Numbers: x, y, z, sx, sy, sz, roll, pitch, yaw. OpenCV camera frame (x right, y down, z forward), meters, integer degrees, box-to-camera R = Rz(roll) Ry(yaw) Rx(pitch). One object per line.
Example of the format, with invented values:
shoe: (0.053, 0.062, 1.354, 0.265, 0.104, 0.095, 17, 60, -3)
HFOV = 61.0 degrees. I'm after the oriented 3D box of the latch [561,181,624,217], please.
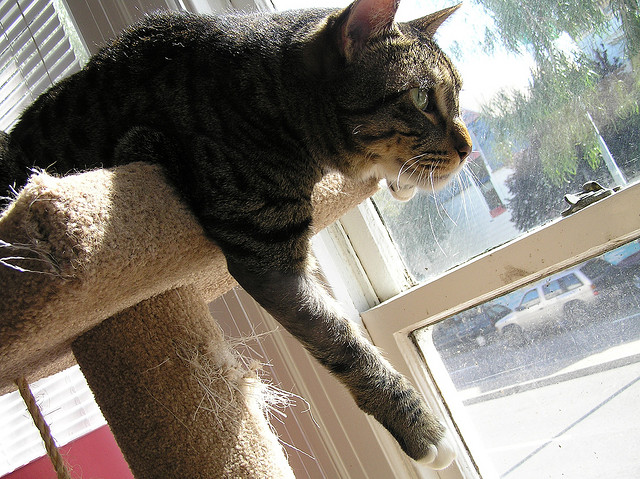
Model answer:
latch: (0.582, -0.099, 1.182, 0.132, 0.046, 0.061, -32, -6, 31)
